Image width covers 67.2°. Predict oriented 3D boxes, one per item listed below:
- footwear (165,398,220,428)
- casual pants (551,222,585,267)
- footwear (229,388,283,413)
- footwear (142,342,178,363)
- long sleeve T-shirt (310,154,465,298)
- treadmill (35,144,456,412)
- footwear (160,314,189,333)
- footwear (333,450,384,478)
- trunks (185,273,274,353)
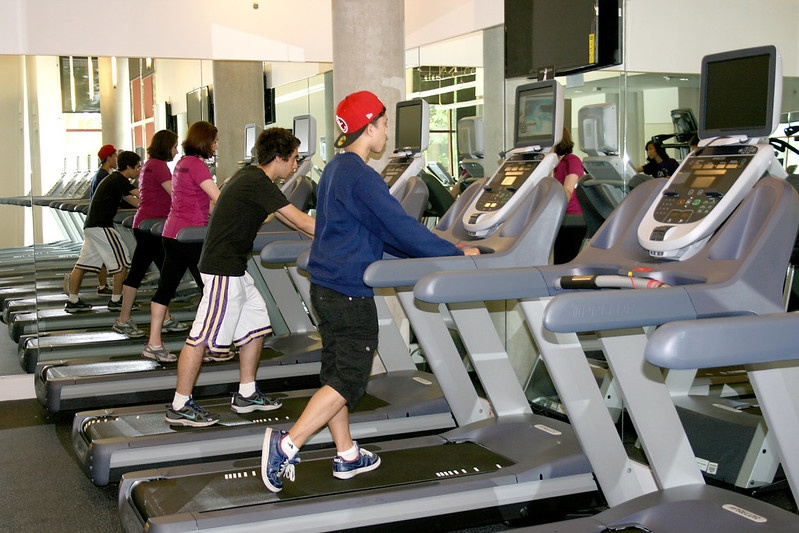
[{"bbox_3d":[-1.233,0.901,3.678,0.380,0.166,0.129,2,-3,-6],"label":"footwear"},{"bbox_3d":[1.217,-0.167,4.295,0.088,0.306,0.362,-10,14,-43],"label":"casual pants"},{"bbox_3d":[-0.931,0.875,3.944,0.353,0.147,0.121,0,2,-27],"label":"footwear"},{"bbox_3d":[-1.860,0.697,4.778,0.304,0.138,0.116,19,8,-23],"label":"footwear"},{"bbox_3d":[-0.109,-0.215,2.943,0.633,0.584,0.765,-2,15,-34],"label":"long sleeve T-shirt"},{"bbox_3d":[-1.050,0.315,6.002,4.353,2.295,1.202,-2,7,-26],"label":"treadmill"},{"bbox_3d":[-2.103,0.541,5.695,0.270,0.116,0.104,-2,5,-29],"label":"footwear"},{"bbox_3d":[-0.204,0.961,3.041,0.273,0.117,0.091,-7,10,-40],"label":"footwear"},{"bbox_3d":[-1.072,0.309,3.864,0.301,0.572,0.656,0,8,28],"label":"trunks"}]
